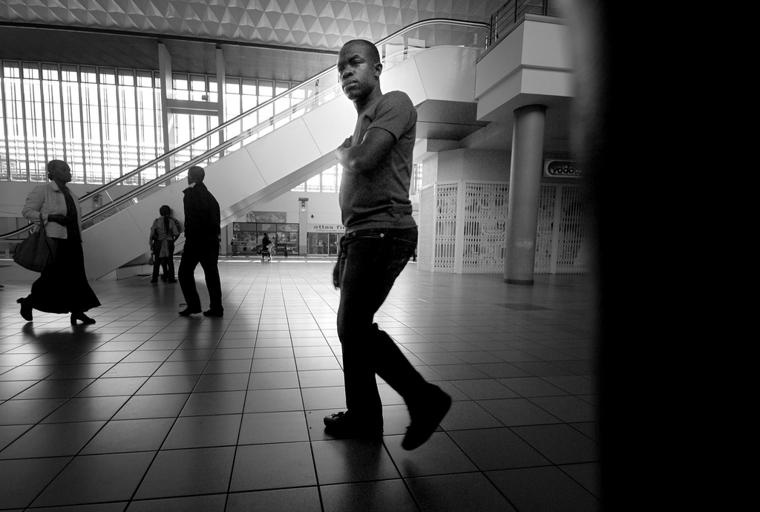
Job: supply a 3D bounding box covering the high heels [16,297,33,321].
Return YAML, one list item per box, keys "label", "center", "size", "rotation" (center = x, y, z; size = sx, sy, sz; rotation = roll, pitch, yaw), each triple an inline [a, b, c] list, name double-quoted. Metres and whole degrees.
- label: "high heels"
  center: [-3.272, 0.482, 4.896]
  size: [0.171, 0.231, 0.084]
  rotation: [-3, 5, 16]

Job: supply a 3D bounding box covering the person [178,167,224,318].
- label: "person"
  center: [-1.836, -0.143, 5.383]
  size: [0.431, 1.522, 0.667]
  rotation: [-2, 8, -18]

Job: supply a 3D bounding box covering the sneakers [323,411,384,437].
- label: "sneakers"
  center: [-0.162, 0.739, 2.438]
  size: [0.317, 0.121, 0.112]
  rotation: [2, 1, 18]

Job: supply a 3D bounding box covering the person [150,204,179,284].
- label: "person"
  center: [-3.713, -0.207, 9.168]
  size: [0.473, 1.315, 0.500]
  rotation: [-5, 9, -35]

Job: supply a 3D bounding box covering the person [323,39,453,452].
- label: "person"
  center: [0.019, -0.052, 2.304]
  size: [0.586, 1.741, 0.392]
  rotation: [1, 8, 6]

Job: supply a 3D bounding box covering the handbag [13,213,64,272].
- label: "handbag"
  center: [-2.981, -0.094, 4.589]
  size: [0.297, 0.450, 0.296]
  rotation: [-5, 9, -33]

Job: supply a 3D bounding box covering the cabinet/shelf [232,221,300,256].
- label: "cabinet/shelf"
  center: [-5.936, -0.890, 27.251]
  size: [3.363, 1.749, 1.355]
  rotation: [-1, 8, -8]

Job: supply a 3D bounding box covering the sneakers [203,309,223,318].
- label: "sneakers"
  center: [-1.683, 0.571, 5.374]
  size: [0.215, 0.077, 0.073]
  rotation: [3, 17, 2]
